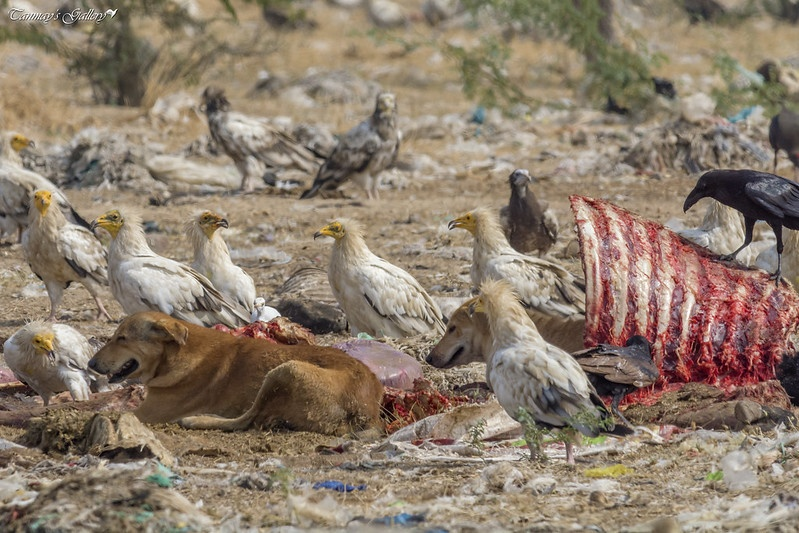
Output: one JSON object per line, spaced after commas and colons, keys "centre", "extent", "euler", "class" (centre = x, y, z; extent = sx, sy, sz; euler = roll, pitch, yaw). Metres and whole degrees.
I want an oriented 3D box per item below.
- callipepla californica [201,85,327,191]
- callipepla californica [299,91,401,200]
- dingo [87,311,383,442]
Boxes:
{"centre": [-2.449, -2.311, 24.425], "extent": [1.811, 1.625, 1.600], "euler": [-14, 17, 17], "class": "callipepla californica"}
{"centre": [-0.643, -1.937, 22.912], "extent": [1.228, 1.901, 0.680], "euler": [11, 18, 5], "class": "callipepla californica"}
{"centre": [-1.711, 1.318, 16.319], "extent": [3.740, 1.221, 1.305], "euler": [2, -5, 6], "class": "dingo"}
